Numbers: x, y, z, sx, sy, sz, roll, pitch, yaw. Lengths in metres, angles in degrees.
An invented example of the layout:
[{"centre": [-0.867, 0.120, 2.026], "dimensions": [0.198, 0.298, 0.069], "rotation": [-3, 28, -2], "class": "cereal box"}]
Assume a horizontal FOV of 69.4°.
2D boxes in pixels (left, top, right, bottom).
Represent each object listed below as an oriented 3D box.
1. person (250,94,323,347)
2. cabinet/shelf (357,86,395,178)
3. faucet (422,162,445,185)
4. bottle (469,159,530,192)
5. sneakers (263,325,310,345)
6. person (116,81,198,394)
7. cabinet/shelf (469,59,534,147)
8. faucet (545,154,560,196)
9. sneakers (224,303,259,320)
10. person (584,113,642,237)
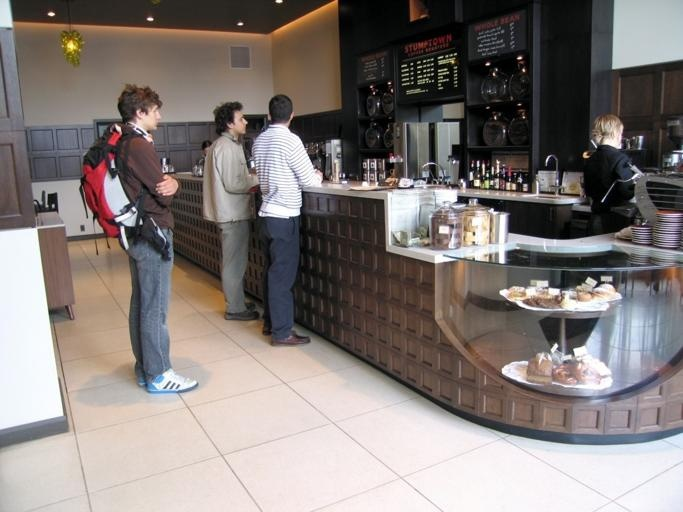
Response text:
[{"centre": [-0.479, -0.296, 4.423], "dimensions": [0.512, 2.199, 0.393], "rotation": [-4, 14, -10], "class": "person"}, {"centre": [0.570, -2.021, 7.808], "dimensions": [0.744, 1.376, 0.507], "rotation": [5, 16, 27], "class": "cabinet/shelf"}, {"centre": [1.243, -1.148, 6.604], "dimensions": [0.316, 0.281, 0.669], "rotation": [1, 15, 10], "class": "faucet"}, {"centre": [1.902, -0.989, 6.015], "dimensions": [0.434, 0.326, 0.865], "rotation": [-6, 15, -14], "class": "bottle"}, {"centre": [-0.467, 0.752, 4.602], "dimensions": [0.489, 0.218, 0.169], "rotation": [-3, 7, -17], "class": "sneakers"}, {"centre": [-1.410, -0.084, 3.653], "dimensions": [0.447, 2.273, 0.426], "rotation": [-9, 16, -25], "class": "person"}, {"centre": [1.953, -1.830, 5.889], "dimensions": [0.484, 1.018, 0.855], "rotation": [-8, 16, -23], "class": "cabinet/shelf"}, {"centre": [2.333, -0.914, 5.453], "dimensions": [0.164, 0.404, 0.533], "rotation": [4, 16, 23], "class": "faucet"}, {"centre": [-1.055, 0.588, 5.299], "dimensions": [0.371, 0.164, 0.150], "rotation": [-4, 8, -21], "class": "sneakers"}, {"centre": [2.433, -0.725, 4.383], "dimensions": [0.394, 1.041, 0.603], "rotation": [1, 14, 10], "class": "person"}]
